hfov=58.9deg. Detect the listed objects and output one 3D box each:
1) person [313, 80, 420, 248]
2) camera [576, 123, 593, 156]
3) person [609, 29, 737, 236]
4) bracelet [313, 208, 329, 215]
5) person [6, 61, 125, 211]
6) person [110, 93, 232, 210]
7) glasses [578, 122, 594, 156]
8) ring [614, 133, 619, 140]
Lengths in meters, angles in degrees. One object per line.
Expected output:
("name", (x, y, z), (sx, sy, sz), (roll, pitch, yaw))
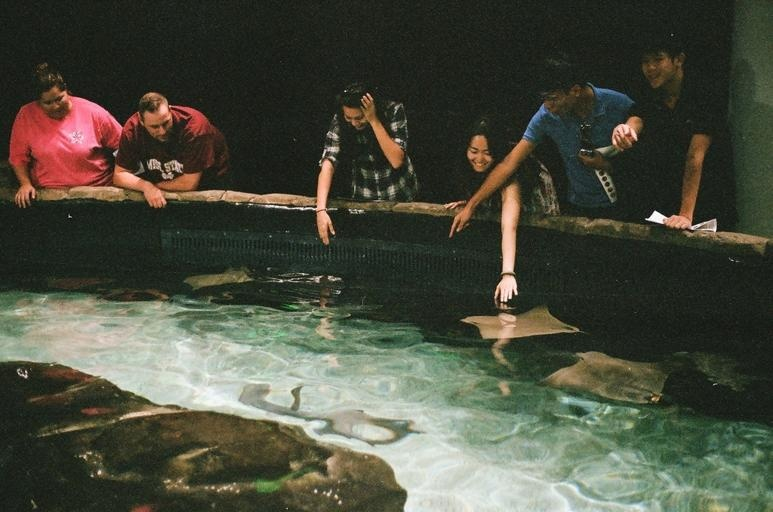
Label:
("person", (-0.159, -0.725, 5.478), (0.830, 1.246, 0.386), (-1, 6, 2))
("camera", (1.384, -0.815, 4.771), (0.126, 0.197, 0.055), (2, 21, 17))
("person", (2.001, -0.856, 4.660), (0.752, 1.355, 0.393), (1, 7, 16))
("bracelet", (-0.521, -0.364, 5.462), (0.104, 0.042, 0.061), (0, 7, 6))
("person", (-2.759, -1.089, 5.786), (0.932, 0.986, 0.370), (0, 7, 11))
("person", (-1.796, -0.832, 5.703), (0.581, 0.649, 1.038), (13, -27, 3))
("glasses", (1.376, -0.812, 4.750), (0.125, 0.197, 0.061), (3, 23, 21))
("ring", (1.547, -0.807, 4.608), (0.041, 0.039, 0.012), (-11, -8, 38))
